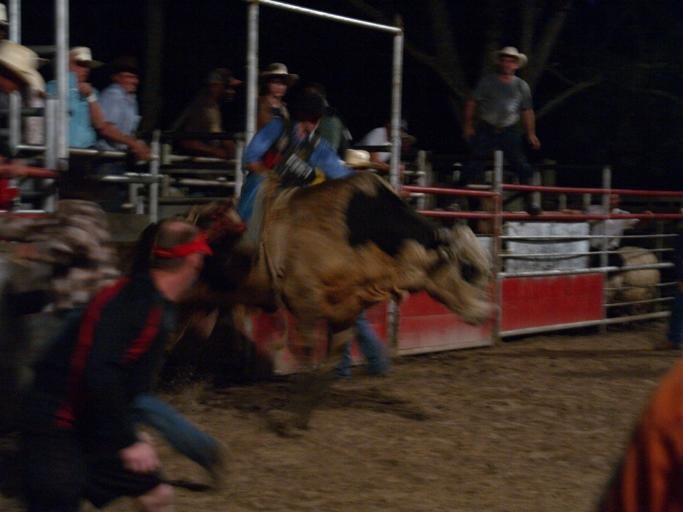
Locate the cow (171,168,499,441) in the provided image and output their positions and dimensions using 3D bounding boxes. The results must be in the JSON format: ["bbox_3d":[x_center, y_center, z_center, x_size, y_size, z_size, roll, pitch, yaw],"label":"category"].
[{"bbox_3d":[-0.185,0.314,5.615,2.732,1.572,0.877,8,6,34],"label":"cow"}]

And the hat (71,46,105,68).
[{"bbox_3d":[-1.930,-1.527,5.747,0.248,0.065,0.195,-1,-1,42],"label":"hat"}]

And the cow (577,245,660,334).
[{"bbox_3d":[3.513,0.381,10.120,1.175,0.853,0.745,4,-16,-18],"label":"cow"}]
